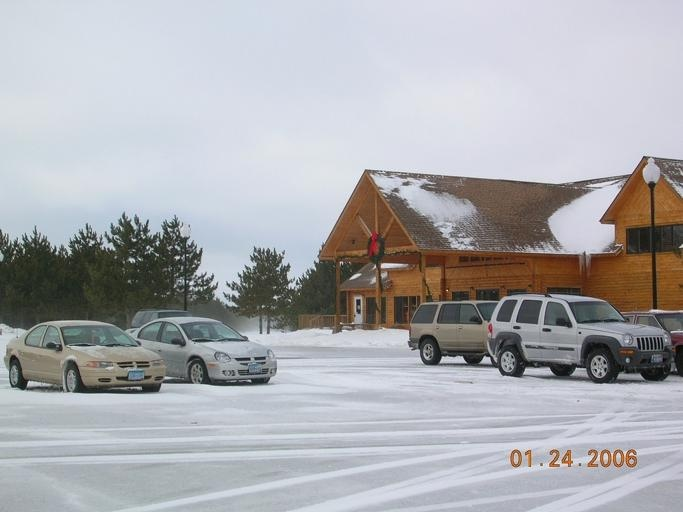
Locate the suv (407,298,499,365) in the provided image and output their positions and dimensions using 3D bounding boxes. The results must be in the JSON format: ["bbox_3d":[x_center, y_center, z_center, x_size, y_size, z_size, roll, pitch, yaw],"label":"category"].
[{"bbox_3d":[3.745,2.482,28.112,1.750,1.558,2.892,3,-8,-44],"label":"suv"}]

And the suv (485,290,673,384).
[{"bbox_3d":[6.410,2.142,22.475,2.336,2.084,3.860,4,-9,-40],"label":"suv"}]

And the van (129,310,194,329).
[{"bbox_3d":[-6.598,2.135,30.120,1.129,1.077,2.109,2,-7,-41],"label":"van"}]

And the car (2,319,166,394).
[{"bbox_3d":[-5.888,2.279,19.379,3.721,1.689,1.832,-5,-10,33],"label":"car"}]
